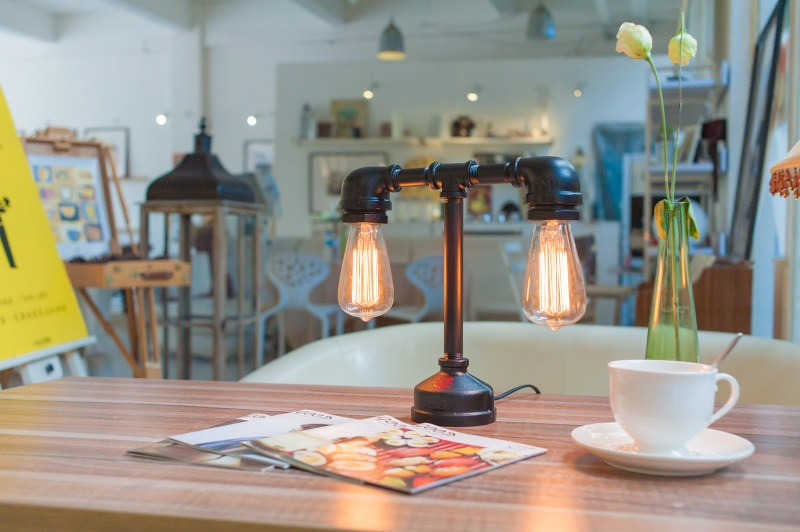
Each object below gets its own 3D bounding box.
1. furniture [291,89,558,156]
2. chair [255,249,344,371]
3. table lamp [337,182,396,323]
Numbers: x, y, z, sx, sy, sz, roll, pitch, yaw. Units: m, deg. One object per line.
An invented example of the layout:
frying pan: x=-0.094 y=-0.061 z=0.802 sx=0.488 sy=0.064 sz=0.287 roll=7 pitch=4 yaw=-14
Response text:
furniture: x=0.298 y=-1.219 z=7.117 sx=2.046 sy=0.567 sz=0.200 roll=-3 pitch=6 yaw=2
chair: x=-0.569 y=0.126 z=4.602 sx=0.404 sy=0.597 sz=0.438 roll=2 pitch=-10 yaw=-16
table lamp: x=-0.074 y=-0.028 z=1.722 sx=0.111 sy=0.301 sz=0.147 roll=-3 pitch=5 yaw=-2
